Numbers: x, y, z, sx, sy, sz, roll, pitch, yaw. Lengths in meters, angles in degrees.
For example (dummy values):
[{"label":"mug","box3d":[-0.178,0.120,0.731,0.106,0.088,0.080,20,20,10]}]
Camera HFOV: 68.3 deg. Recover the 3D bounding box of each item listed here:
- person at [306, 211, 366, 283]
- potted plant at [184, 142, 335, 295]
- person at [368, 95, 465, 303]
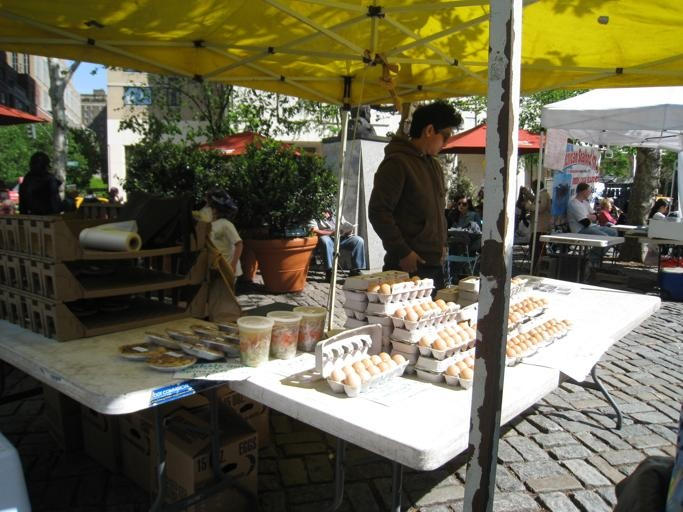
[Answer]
[{"label":"person","box3d":[-0.142,-0.196,9.719,0.931,1.287,0.996,3,9,-33]},{"label":"potted plant","box3d":[-1.227,-0.668,8.854,1.977,2.502,1.942,14,8,39]},{"label":"person","box3d":[0.631,-0.471,4.126,0.678,1.678,0.592,1,2,27]}]
